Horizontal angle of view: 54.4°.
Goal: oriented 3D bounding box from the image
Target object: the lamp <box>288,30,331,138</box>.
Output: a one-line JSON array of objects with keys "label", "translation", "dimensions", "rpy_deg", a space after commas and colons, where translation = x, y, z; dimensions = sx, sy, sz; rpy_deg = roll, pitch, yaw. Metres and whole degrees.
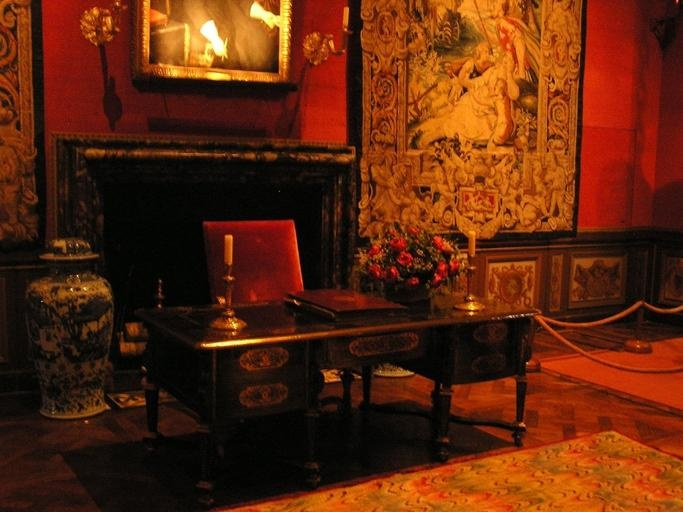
[{"label": "lamp", "translation": [-0.266, -1.497, 5.774], "dimensions": [0.390, 0.898, 0.359], "rpy_deg": [1, 10, -1]}]

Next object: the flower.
[{"label": "flower", "translation": [0.483, -0.031, 4.421], "dimensions": [0.560, 0.319, 0.575], "rpy_deg": [3, 10, 20]}]
